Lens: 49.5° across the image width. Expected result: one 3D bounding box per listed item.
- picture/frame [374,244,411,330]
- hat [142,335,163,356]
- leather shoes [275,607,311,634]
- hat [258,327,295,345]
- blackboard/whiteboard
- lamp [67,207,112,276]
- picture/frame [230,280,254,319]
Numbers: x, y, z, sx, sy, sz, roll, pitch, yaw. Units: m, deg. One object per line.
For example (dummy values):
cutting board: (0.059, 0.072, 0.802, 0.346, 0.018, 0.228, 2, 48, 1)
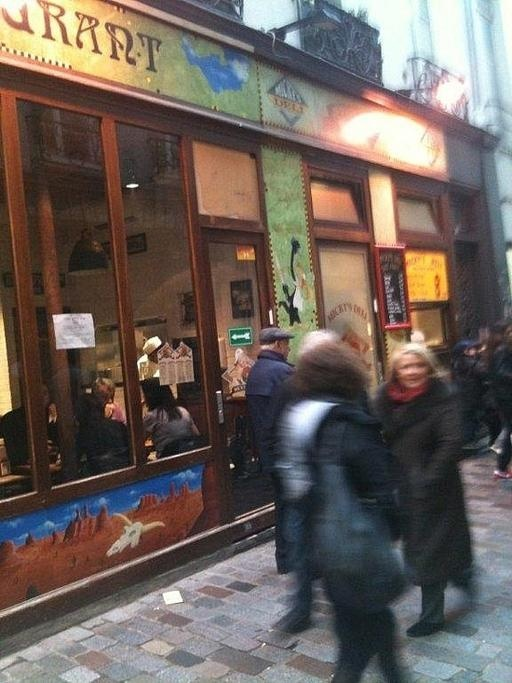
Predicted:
picture/frame: (1.859, -0.737, 7.613, 0.099, 1.285, 1.188, -7, 2, 29)
hat: (-0.820, 0.021, 4.406, 0.130, 0.085, 0.129, -28, 15, 22)
leather shoes: (0.210, 1.500, 2.985, 0.172, 0.092, 0.135, -26, 27, 8)
hat: (0.152, -0.049, 4.093, 0.178, 0.058, 0.145, -10, 3, -15)
blackboard/whiteboard: (1.869, -0.743, 7.631, 0.095, 1.312, 1.212, -7, 3, 29)
lamp: (-1.281, -0.740, 4.198, 0.291, 0.472, 0.285, -7, -7, -1)
picture/frame: (-0.138, -0.416, 5.339, 0.046, 0.299, 0.362, 0, 11, 25)
